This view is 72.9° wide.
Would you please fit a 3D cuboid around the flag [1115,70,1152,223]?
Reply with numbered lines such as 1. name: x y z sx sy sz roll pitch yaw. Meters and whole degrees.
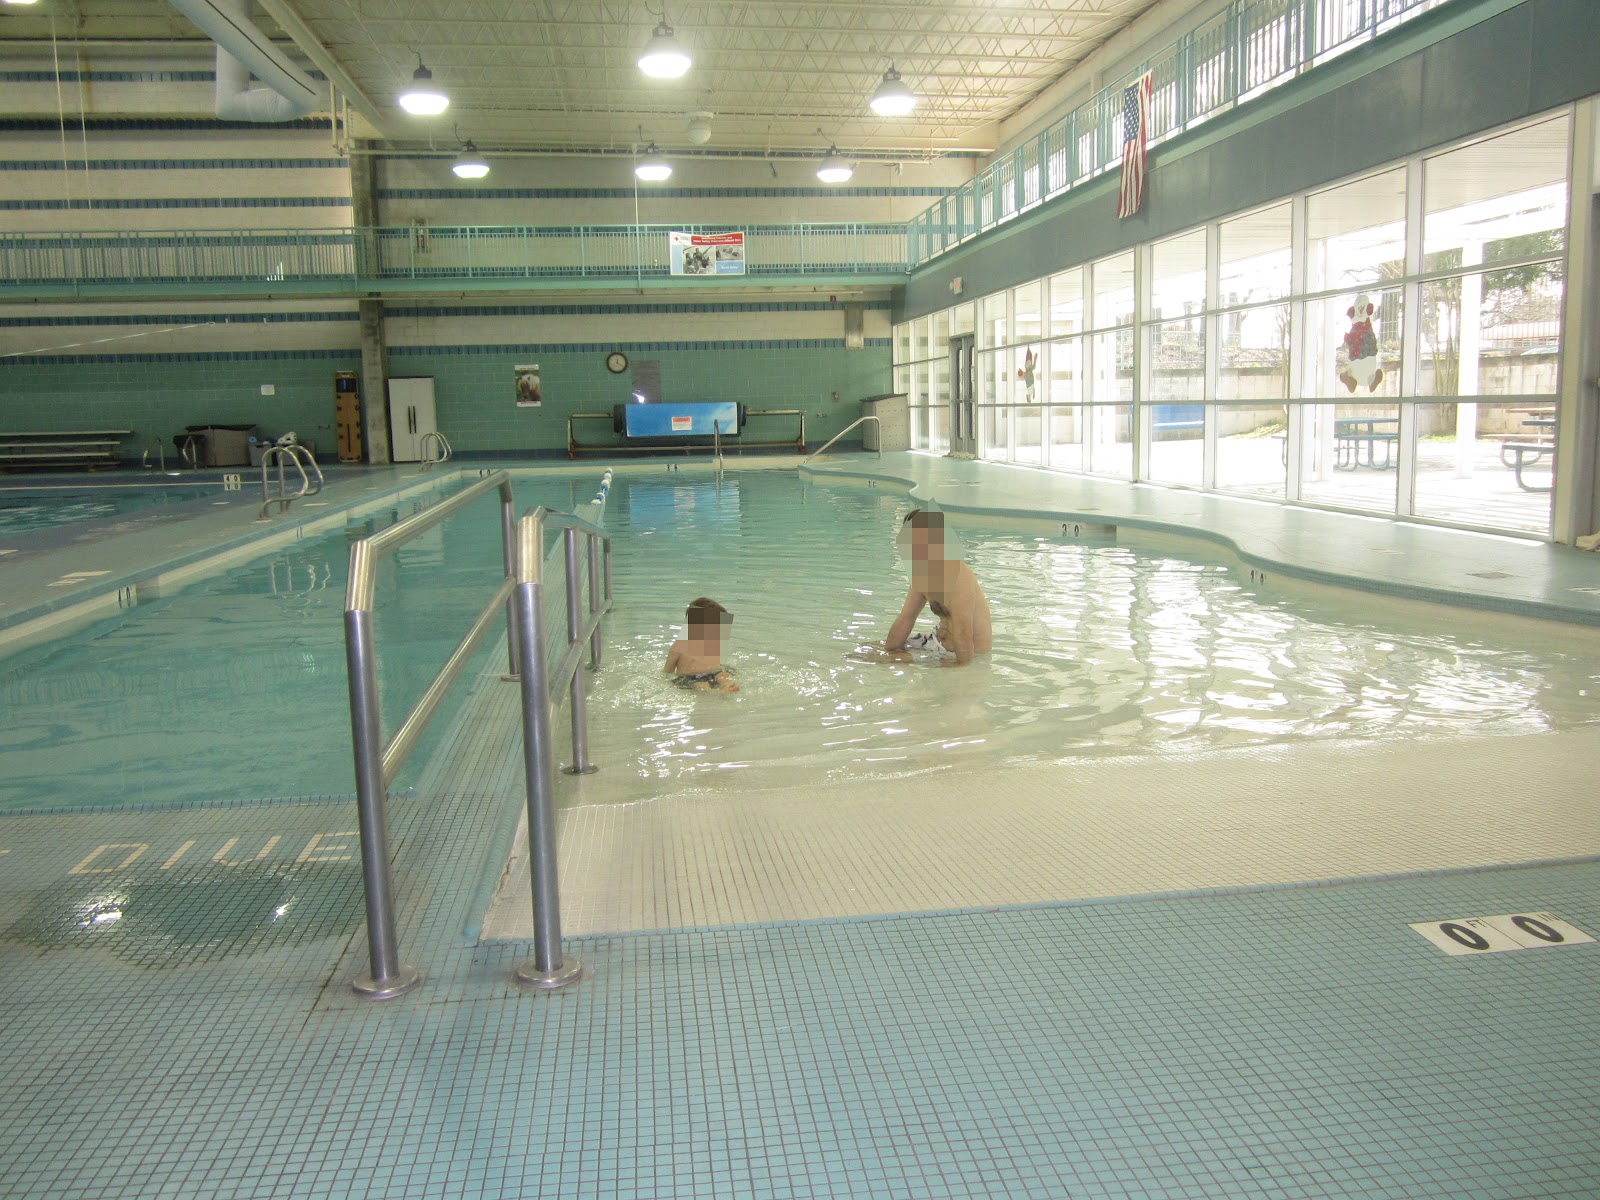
1. flag: 4.230 -5.801 13.749 0.075 1.628 0.868 20 45 33

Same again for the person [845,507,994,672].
1. person: 0.589 -0.070 5.819 0.713 0.889 0.714 3 14 21

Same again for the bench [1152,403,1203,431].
1. bench: 8.166 -3.865 23.324 0.840 0.663 4.308 2 11 17
